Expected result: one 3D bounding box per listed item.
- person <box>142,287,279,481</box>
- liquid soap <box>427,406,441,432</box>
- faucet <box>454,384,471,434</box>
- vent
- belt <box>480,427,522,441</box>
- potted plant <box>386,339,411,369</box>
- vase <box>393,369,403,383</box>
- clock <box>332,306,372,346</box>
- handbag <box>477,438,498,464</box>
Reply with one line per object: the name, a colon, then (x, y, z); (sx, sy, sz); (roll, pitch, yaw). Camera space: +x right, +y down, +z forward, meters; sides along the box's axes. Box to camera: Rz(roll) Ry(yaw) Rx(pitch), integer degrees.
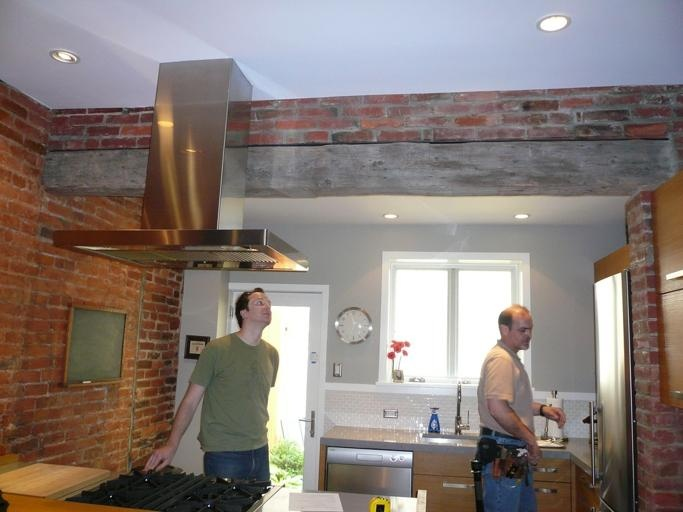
person: (-0.694, 0.783, 3.266); (0.795, 1.187, 0.429); (3, -8, -27)
liquid soap: (0.887, 1.550, 5.063); (0.117, 0.237, 0.365); (-2, -7, 10)
faucet: (1.146, 1.432, 5.062); (0.126, 0.463, 0.276); (-3, -7, 15)
vent: (-0.924, -0.492, 3.321); (1.154, 1.023, 0.885); (0, -9, 1)
belt: (0.998, 1.098, 3.293); (0.141, 0.032, 0.141); (0, -15, 37)
potted plant: (0.593, 0.999, 5.413); (0.238, 0.287, 0.262); (-1, -7, 6)
vase: (0.574, 1.209, 5.398); (0.134, 0.121, 0.108); (1, -2, 10)
clock: (0.142, 0.708, 5.474); (0.411, 0.377, 0.058); (8, -9, -28)
handbag: (0.906, 1.204, 3.304); (0.111, 0.144, 0.043); (1, -8, 36)
